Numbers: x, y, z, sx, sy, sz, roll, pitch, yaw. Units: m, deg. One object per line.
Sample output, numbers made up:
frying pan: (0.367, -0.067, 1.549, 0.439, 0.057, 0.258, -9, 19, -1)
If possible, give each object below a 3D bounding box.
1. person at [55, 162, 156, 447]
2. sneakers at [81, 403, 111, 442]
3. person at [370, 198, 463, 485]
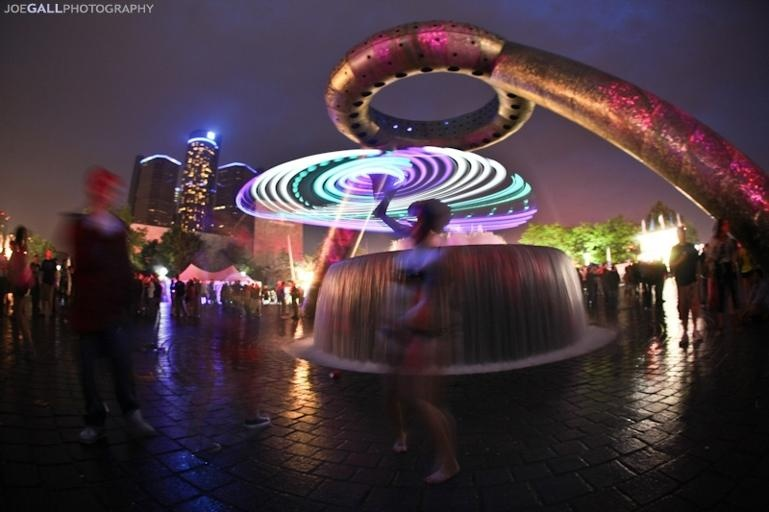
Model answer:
person: (-3.340, 0.547, 5.071, 0.753, 3.156, 0.914, -8, 10, -29)
sneakers: (-3.297, 1.889, 4.880, 0.277, 0.428, 0.183, -9, 10, -34)
person: (0.367, 0.805, 4.541, 0.750, 2.731, 1.097, -2, 9, 6)
